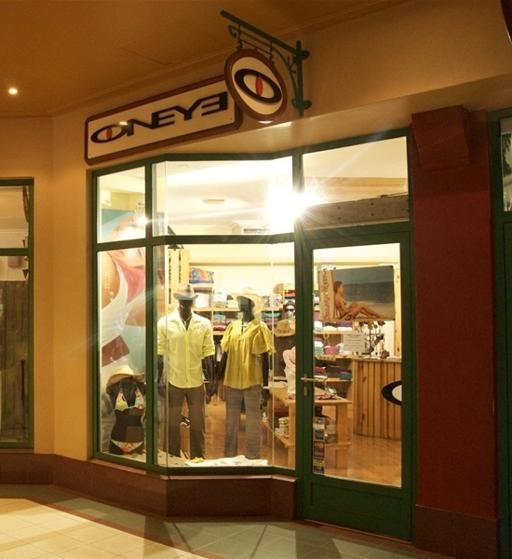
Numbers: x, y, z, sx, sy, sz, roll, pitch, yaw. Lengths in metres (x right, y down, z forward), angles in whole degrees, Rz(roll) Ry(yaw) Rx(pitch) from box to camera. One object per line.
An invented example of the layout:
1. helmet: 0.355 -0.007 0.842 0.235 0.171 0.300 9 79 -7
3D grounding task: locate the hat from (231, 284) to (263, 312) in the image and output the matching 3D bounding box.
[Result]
1. hat: -0.059 0.166 5.070 0.093 0.229 0.199 -44 -6 -32

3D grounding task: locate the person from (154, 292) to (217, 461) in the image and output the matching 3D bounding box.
1. person: -0.622 0.892 5.153 0.436 1.725 0.455 2 16 2

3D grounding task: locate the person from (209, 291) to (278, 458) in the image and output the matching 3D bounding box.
1. person: -0.090 0.828 5.053 0.450 1.342 0.140 0 -3 -4
